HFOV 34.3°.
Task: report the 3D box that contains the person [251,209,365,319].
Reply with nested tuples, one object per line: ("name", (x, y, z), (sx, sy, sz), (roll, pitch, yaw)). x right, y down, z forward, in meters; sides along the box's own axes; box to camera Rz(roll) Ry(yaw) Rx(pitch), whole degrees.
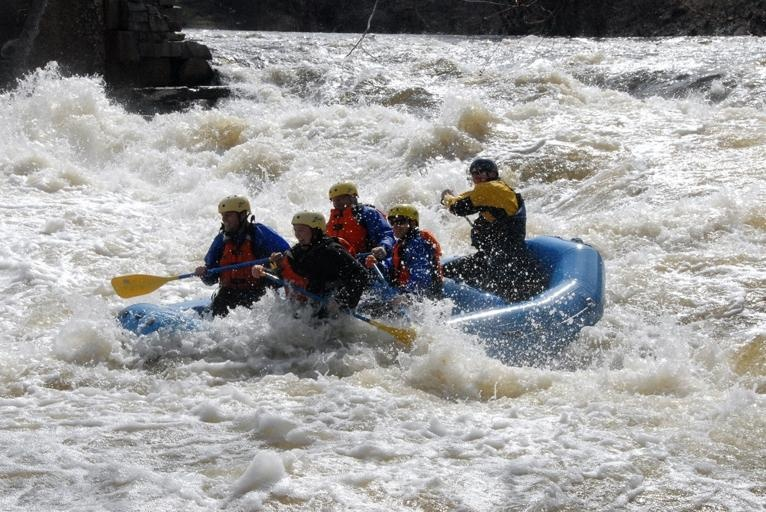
("person", (-0.913, 0.130, 17.955), (1.336, 1.517, 0.459), (-3, 24, -4))

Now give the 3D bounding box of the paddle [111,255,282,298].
("paddle", (-2.878, 0.258, 19.517), (0.182, 0.339, 3.420), (-17, -4, 34))

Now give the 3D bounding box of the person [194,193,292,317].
("person", (-2.152, 0.059, 18.934), (1.550, 1.854, 1.129), (-20, -22, 21))

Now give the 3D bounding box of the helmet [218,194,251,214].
("helmet", (-2.195, -0.752, 18.340), (0.380, 0.177, 0.272), (9, -12, -42))

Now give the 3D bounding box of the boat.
("boat", (0.327, 0.809, 18.043), (5.830, 1.035, 2.534), (-7, 18, -9))

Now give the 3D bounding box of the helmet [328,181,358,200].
("helmet", (-0.610, -0.987, 18.814), (0.372, 0.170, 0.261), (0, -8, -32))

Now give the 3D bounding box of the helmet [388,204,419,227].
("helmet", (0.331, -0.623, 18.668), (0.419, 0.270, 0.305), (-16, 25, -41))

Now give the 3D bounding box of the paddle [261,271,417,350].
("paddle", (-0.687, 0.823, 18.056), (2.612, 0.335, 0.132), (22, 13, 4))
